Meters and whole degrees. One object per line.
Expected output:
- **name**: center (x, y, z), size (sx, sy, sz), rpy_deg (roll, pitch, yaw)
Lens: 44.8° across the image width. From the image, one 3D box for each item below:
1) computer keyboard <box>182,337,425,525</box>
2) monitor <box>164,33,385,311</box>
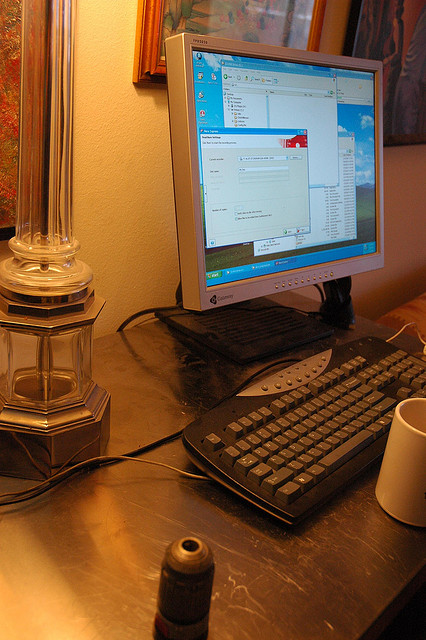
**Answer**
- **computer keyboard**: center (0.085, 0.071, 0.522), size (0.122, 0.049, 0.256), rpy_deg (24, 33, 34)
- **monitor**: center (0.113, -0.224, 0.778), size (0.418, 0.337, 0.045), rpy_deg (-15, 16, -39)
